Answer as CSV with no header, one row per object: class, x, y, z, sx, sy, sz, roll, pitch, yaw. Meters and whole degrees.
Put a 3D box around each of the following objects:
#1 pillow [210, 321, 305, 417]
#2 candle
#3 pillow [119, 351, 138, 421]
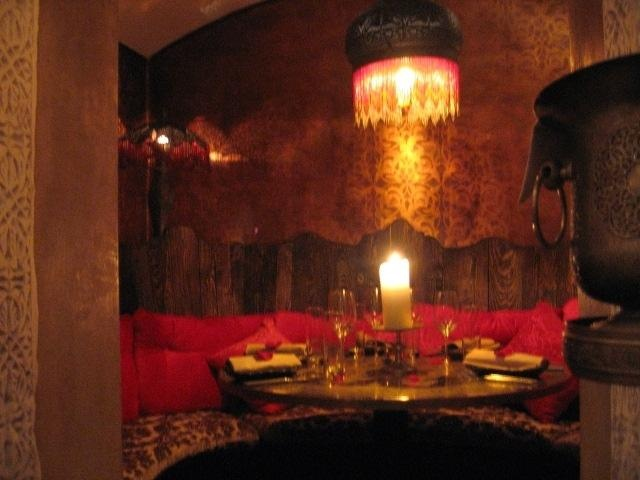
pillow,-0.268,0.503,2.840,0.344,0.122,0.390,-18,32,-7
candle,0.225,0.152,1.966,0.092,0.213,0.109,0,7,6
pillow,-0.746,0.580,2.631,0.057,0.205,0.223,-2,8,-16
